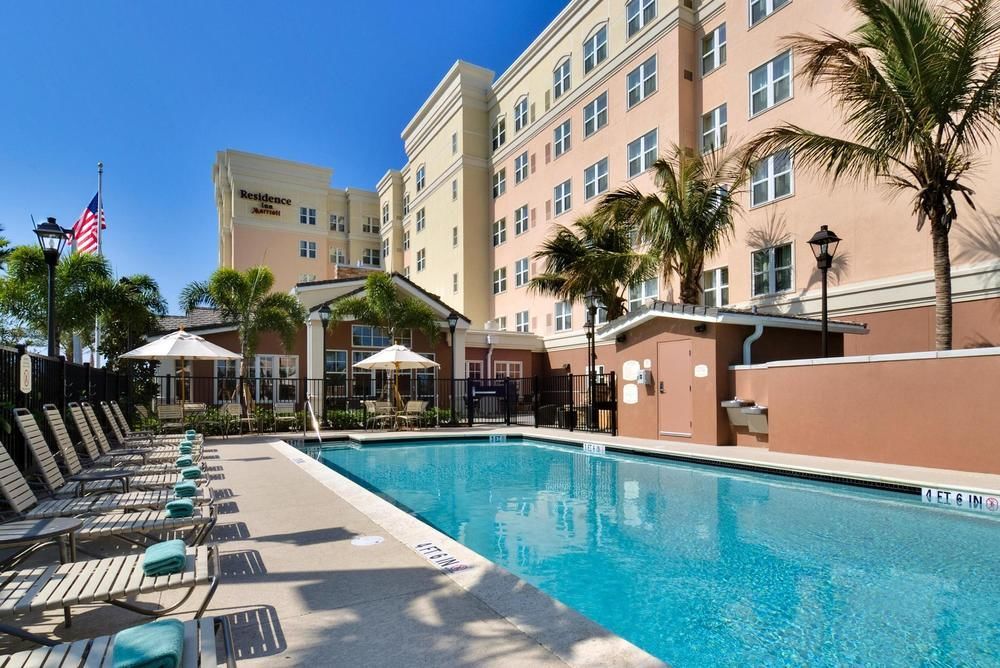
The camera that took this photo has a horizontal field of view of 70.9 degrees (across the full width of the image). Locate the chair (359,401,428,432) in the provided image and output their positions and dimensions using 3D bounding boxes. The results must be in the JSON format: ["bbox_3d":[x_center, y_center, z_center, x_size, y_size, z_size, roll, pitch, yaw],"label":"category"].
[{"bbox_3d":[-3.913,2.947,25.976,2.223,1.038,1.979,-3,-4,-7],"label":"chair"}]
